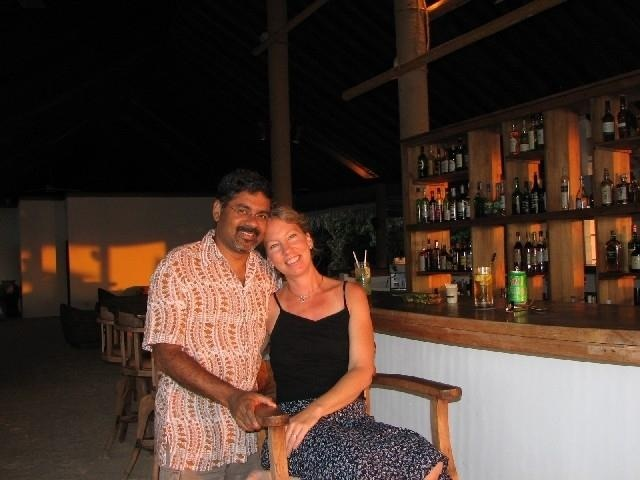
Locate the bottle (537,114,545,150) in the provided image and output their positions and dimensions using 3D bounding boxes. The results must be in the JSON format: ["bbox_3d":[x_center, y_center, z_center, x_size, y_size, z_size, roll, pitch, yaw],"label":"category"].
[{"bbox_3d":[1.930,-0.958,4.794,0.042,0.296,0.162,-2,-3,5],"label":"bottle"}]

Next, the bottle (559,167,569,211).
[{"bbox_3d":[2.130,-0.443,4.771,0.080,0.352,0.071,-2,-3,10],"label":"bottle"}]

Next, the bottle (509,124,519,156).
[{"bbox_3d":[1.778,-0.922,5.026,0.092,0.287,0.042,-2,-3,17],"label":"bottle"}]

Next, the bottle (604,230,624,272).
[{"bbox_3d":[2.434,0.093,4.535,0.193,0.339,0.088,-1,-3,-20],"label":"bottle"}]

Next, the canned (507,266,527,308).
[{"bbox_3d":[1.153,0.290,3.197,0.100,0.212,0.130,-3,-3,17],"label":"canned"}]

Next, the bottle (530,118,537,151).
[{"bbox_3d":[1.901,-0.935,4.880,0.035,0.265,0.100,-1,-3,-21],"label":"bottle"}]

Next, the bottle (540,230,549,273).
[{"bbox_3d":[2.069,0.106,5.083,0.087,0.397,0.496,-3,-4,22],"label":"bottle"}]

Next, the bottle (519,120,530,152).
[{"bbox_3d":[1.858,-0.943,4.996,0.081,0.319,0.146,-3,-3,21],"label":"bottle"}]

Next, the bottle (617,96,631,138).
[{"bbox_3d":[2.446,-0.978,4.409,0.100,0.350,0.169,-3,-3,30],"label":"bottle"}]

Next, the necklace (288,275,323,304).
[{"bbox_3d":[-0.078,0.277,2.822,0.109,0.086,0.188,-7,-33,-4],"label":"necklace"}]

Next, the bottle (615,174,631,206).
[{"bbox_3d":[2.448,-0.406,4.449,0.105,0.278,0.351,-3,-4,30],"label":"bottle"}]

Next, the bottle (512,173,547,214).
[{"bbox_3d":[1.904,-0.413,5.015,0.338,0.499,0.129,-5,-11,38],"label":"bottle"}]

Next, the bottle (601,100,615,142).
[{"bbox_3d":[2.315,-0.956,4.417,0.097,0.333,0.071,-3,-3,27],"label":"bottle"}]
